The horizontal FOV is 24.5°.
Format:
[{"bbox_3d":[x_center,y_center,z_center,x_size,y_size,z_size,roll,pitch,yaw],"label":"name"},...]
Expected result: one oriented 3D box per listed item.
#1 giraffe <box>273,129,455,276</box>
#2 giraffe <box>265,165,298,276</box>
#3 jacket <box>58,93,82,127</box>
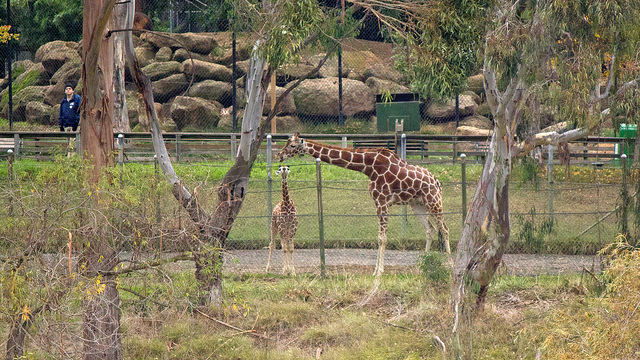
[{"bbox_3d":[2.209,0.885,50.982,5.084,4.636,4.329,-4,8,-4],"label":"giraffe"},{"bbox_3d":[-1.301,1.395,50.832,1.089,3.777,1.618,-3,7,-2],"label":"giraffe"},{"bbox_3d":[-9.711,-2.688,57.281,0.577,1.346,1.609,-7,9,-34],"label":"jacket"}]
